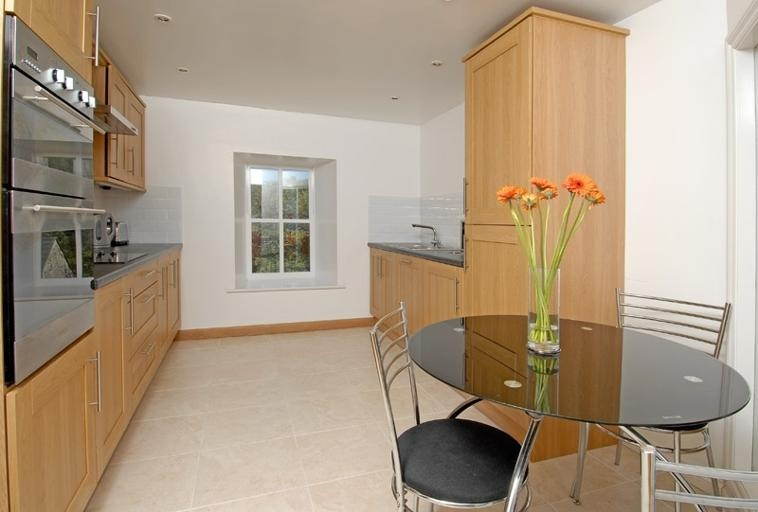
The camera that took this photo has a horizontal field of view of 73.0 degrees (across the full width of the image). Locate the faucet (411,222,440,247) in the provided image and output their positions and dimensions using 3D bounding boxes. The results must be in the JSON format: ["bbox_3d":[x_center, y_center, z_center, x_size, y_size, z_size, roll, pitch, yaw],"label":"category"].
[{"bbox_3d":[0.540,-0.264,5.923,0.260,0.217,0.659,-1,12,-4],"label":"faucet"}]

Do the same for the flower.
[{"bbox_3d":[0.818,0.017,2.526,0.505,0.775,0.467,-4,-2,21],"label":"flower"}]

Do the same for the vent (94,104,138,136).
[{"bbox_3d":[-1.819,-0.912,3.491,0.214,0.071,0.318,-1,-4,1],"label":"vent"}]

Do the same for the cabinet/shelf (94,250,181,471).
[{"bbox_3d":[-1.648,0.725,3.453,0.390,0.619,1.308,-2,7,-13],"label":"cabinet/shelf"}]
